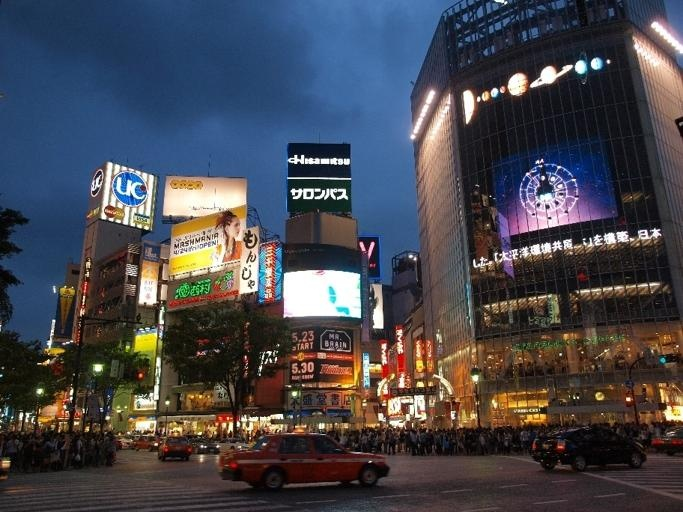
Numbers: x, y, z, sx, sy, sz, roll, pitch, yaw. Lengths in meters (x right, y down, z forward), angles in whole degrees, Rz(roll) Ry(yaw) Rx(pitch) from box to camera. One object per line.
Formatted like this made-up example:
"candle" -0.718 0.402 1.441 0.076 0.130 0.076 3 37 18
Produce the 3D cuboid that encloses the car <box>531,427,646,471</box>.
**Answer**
"car" 11.097 8.629 24.431 4.272 1.817 1.101 -1 -18 -4
